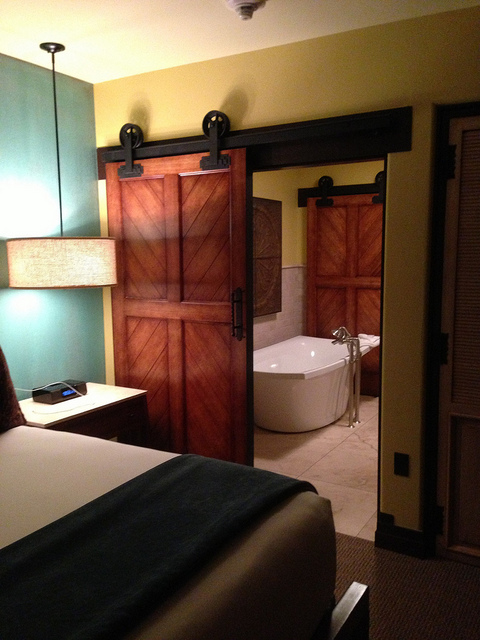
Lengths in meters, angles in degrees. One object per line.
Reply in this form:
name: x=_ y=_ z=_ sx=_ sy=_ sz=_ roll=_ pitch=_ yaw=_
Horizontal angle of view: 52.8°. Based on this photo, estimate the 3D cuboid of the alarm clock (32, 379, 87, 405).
alarm clock: x=-1.050 y=0.417 z=2.829 sx=0.190 sy=0.094 sz=0.284 roll=0 pitch=2 yaw=30

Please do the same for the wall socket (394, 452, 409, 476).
wall socket: x=0.797 y=0.712 z=2.394 sx=0.069 sy=0.108 sz=0.011 roll=0 pitch=2 yaw=30

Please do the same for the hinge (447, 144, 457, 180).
hinge: x=0.955 y=-0.709 z=2.182 sx=0.042 sy=0.152 sz=0.006 roll=1 pitch=2 yaw=42

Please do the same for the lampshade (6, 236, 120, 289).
lampshade: x=-0.969 y=-0.320 z=2.724 sx=0.593 sy=0.299 sz=0.209 roll=-2 pitch=2 yaw=-41

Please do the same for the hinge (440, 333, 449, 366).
hinge: x=0.958 y=0.140 z=2.279 sx=0.033 sy=0.143 sz=0.014 roll=0 pitch=1 yaw=24

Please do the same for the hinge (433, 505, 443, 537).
hinge: x=0.971 y=0.988 z=2.379 sx=0.044 sy=0.173 sz=0.035 roll=0 pitch=2 yaw=27
